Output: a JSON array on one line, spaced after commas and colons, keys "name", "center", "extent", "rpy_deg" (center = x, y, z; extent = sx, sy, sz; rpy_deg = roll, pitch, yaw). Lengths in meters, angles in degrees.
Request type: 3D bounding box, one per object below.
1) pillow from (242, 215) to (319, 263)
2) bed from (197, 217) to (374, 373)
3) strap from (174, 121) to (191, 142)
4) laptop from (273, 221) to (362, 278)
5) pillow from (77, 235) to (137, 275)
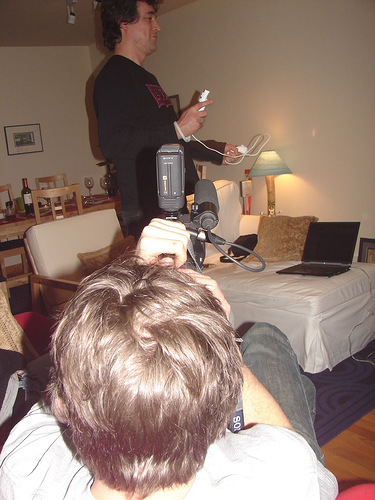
[{"name": "pillow", "center": [0.700, -0.099, 2.813], "extent": [0.440, 0.456, 0.135], "rpy_deg": [4, -9, 39]}, {"name": "bed", "center": [0.587, 0.222, 2.487], "extent": [1.055, 0.676, 1.061], "rpy_deg": [9, 26, 35]}, {"name": "strap", "center": [-0.017, -0.464, 1.482], "extent": [0.019, 0.072, 0.056], "rpy_deg": [-34, -4, 15]}, {"name": "laptop", "center": [0.846, -0.017, 2.416], "extent": [0.430, 0.281, 0.385], "rpy_deg": [-12, 10, -35]}, {"name": "pillow", "center": [-0.504, 0.026, 2.344], "extent": [0.346, 0.211, 0.208], "rpy_deg": [-2, 2, -15]}]
